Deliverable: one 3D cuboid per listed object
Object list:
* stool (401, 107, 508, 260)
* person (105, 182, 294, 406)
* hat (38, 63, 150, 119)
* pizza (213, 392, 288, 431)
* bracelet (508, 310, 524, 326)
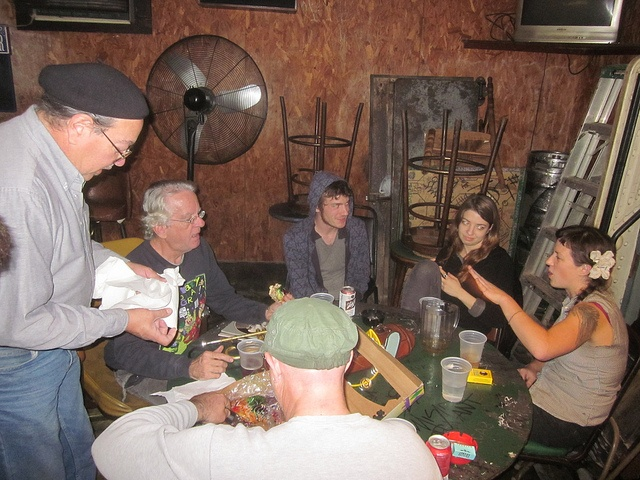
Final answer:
[{"bbox_3d":[1.289,-0.556,4.600,0.885,1.596,0.975,23,34,33],"label":"stool"},{"bbox_3d":[-0.860,0.279,3.229,0.854,1.207,0.882,19,42,13],"label":"person"},{"bbox_3d":[-1.093,-0.741,2.286,0.372,0.144,0.338,-1,55,-38],"label":"hat"},{"bbox_3d":[-0.306,0.812,2.259,0.206,0.091,0.165,1,2,23],"label":"pizza"},{"bbox_3d":[1.184,0.473,2.826,0.020,0.076,0.081,45,19,22],"label":"bracelet"}]
